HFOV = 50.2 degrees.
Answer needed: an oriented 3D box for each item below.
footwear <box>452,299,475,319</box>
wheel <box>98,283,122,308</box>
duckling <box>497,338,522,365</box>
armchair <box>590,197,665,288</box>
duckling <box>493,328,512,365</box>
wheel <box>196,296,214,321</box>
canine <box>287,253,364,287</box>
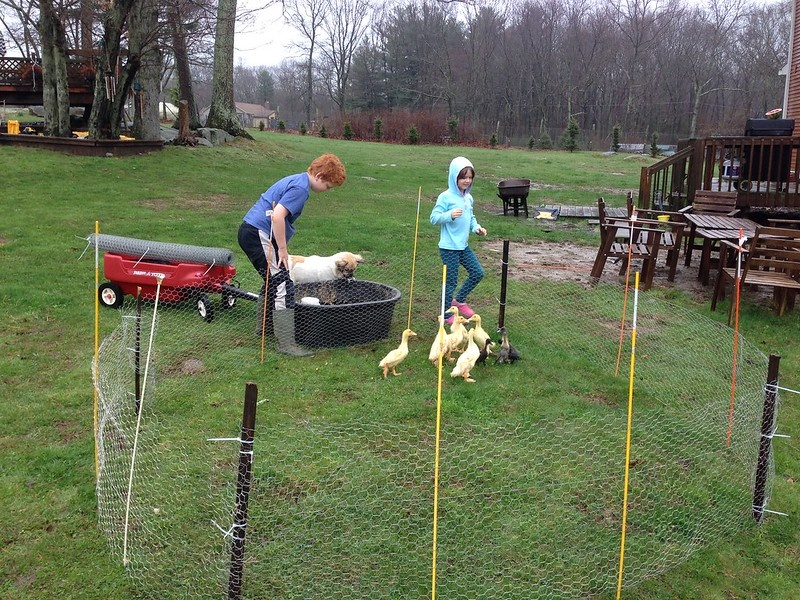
[{"bbox_3d":[0.942,0.115,12.491,0.371,0.162,0.191,30,37,8],"label":"footwear"},{"bbox_3d":[-4.189,-0.079,12.391,0.243,0.268,0.089,21,20,13],"label":"wheel"},{"bbox_3d":[1.442,0.693,11.305,0.201,0.305,0.419,0,0,12],"label":"duckling"},{"bbox_3d":[3.997,-1.009,14.898,1.255,1.851,1.437,5,13,20],"label":"armchair"},{"bbox_3d":[1.386,0.626,11.380,0.205,0.535,0.353,1,-2,40],"label":"duckling"},{"bbox_3d":[-2.802,0.119,12.276,0.099,0.321,0.291,-10,12,-40],"label":"wheel"},{"bbox_3d":[-1.107,-0.453,12.284,0.915,0.467,0.890,12,12,31],"label":"canine"}]
